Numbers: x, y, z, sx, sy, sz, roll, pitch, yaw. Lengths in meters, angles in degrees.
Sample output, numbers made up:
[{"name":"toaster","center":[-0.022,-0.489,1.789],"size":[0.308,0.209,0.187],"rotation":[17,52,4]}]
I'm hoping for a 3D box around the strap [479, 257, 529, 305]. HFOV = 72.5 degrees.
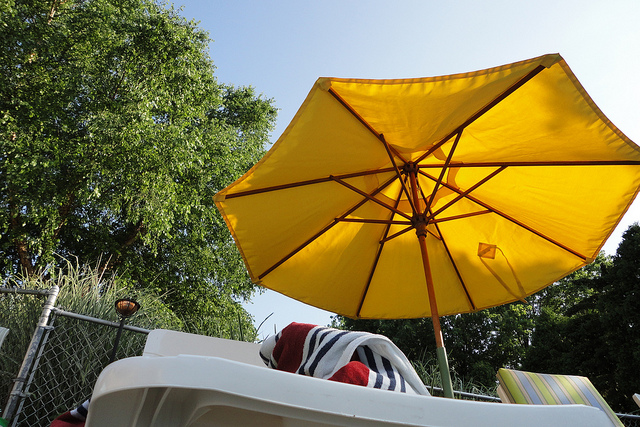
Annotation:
[{"name":"strap","center":[2.089,0.721,4.937],"size":[0.631,0.090,0.072],"rotation":[49,-33,-1]}]
